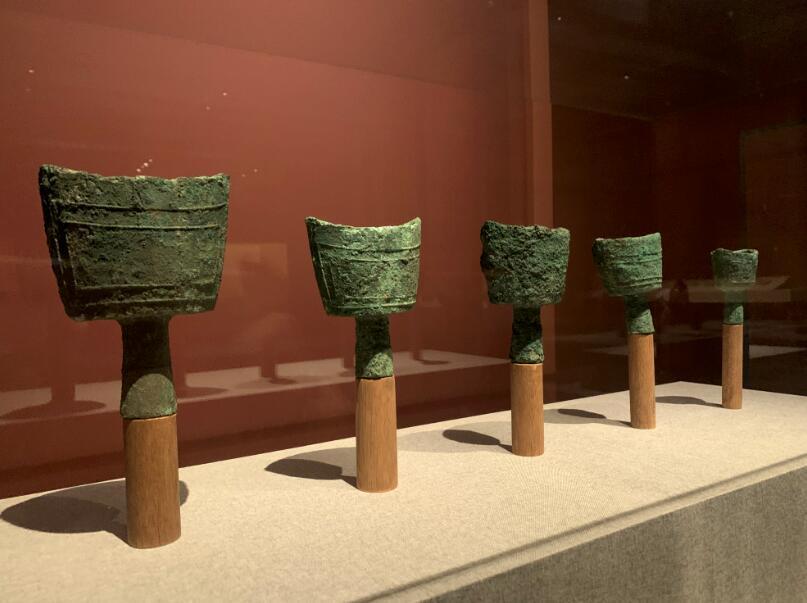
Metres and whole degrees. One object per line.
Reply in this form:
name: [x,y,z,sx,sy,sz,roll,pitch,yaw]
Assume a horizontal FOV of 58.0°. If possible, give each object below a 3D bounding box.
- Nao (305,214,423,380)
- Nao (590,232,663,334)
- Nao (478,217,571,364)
Nao: [-0.127,-0.024,2.690,0.400,0.613,0.394,-8,12,-16]
Nao: [0.996,-0.082,3.224,0.276,0.439,0.180,-5,10,-23]
Nao: [0.494,-0.035,2.927,0.343,0.588,0.351,0,3,42]
